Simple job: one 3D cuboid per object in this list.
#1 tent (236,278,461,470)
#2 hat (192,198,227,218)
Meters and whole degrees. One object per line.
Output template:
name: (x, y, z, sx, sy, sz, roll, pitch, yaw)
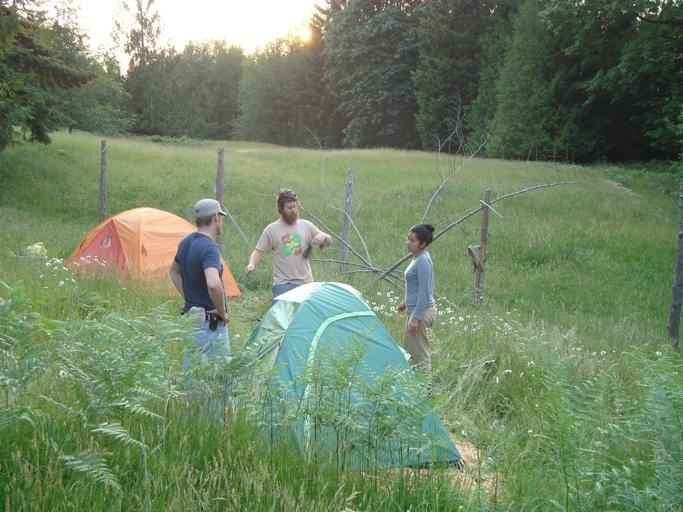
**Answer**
tent: (-0.103, 1.862, 11.423, 2.238, 1.793, 3.092, -5, 23, -36)
hat: (-2.226, -0.804, 12.389, 0.452, 0.277, 0.349, -7, 14, -36)
